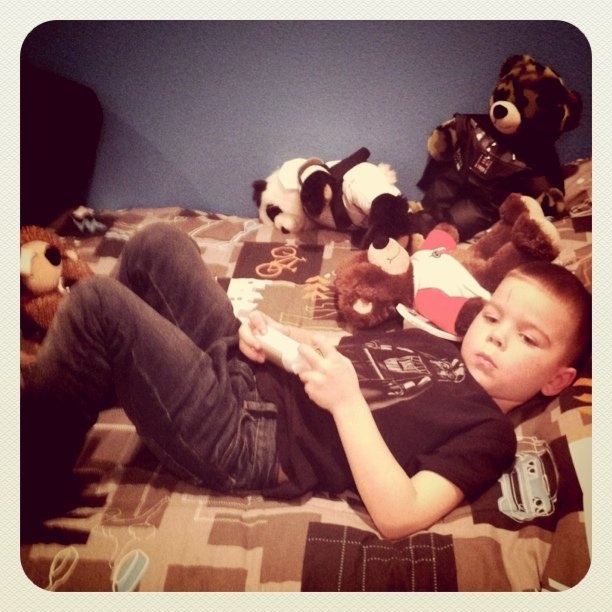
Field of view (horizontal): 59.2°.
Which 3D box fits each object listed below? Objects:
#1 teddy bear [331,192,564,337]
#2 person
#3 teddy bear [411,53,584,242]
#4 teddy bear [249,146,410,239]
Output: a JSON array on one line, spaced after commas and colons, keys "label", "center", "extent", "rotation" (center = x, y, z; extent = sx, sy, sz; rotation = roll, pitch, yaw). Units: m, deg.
[{"label": "teddy bear", "center": [0.372, -0.102, 1.465], "extent": [0.495, 0.210, 0.385], "rotation": [-16, 44, 21]}, {"label": "person", "center": [0.010, 0.209, 1.464], "extent": [1.261, 0.728, 0.707], "rotation": [16, 43, 2]}, {"label": "teddy bear", "center": [0.556, -0.434, 1.507], "extent": [0.324, 0.448, 0.213], "rotation": [32, 1, 13]}, {"label": "teddy bear", "center": [0.046, -0.315, 1.634], "extent": [0.334, 0.173, 0.366], "rotation": [-4, -14, 13]}]
